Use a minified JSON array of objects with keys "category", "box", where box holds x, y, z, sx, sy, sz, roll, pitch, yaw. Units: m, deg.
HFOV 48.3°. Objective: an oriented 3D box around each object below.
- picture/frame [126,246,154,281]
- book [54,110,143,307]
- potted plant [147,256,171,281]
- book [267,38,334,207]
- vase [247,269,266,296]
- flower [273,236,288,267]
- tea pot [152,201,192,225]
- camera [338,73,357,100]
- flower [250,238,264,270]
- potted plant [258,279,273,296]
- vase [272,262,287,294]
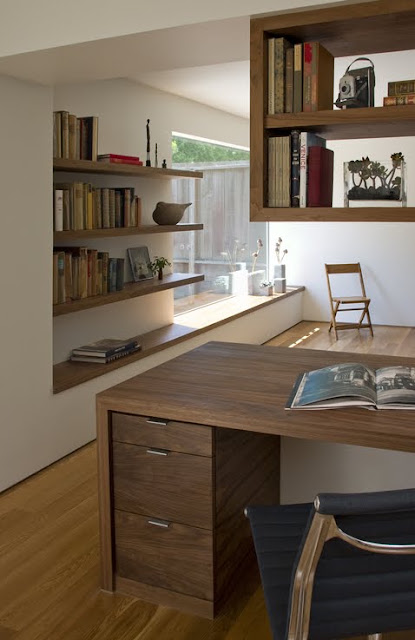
[{"category":"picture/frame","box":[-0.601,-0.478,4.022,0.019,0.207,0.283,-11,12,22]},{"category":"book","box":[-0.759,-0.727,3.114,0.279,1.174,0.951,-1,7,27]},{"category":"potted plant","box":[-0.438,-0.487,4.258,0.203,0.221,0.213,6,15,16]},{"category":"book","box":[0.321,-0.703,1.643,0.220,0.740,0.497,2,8,17]},{"category":"vase","box":[0.651,-0.486,6.286,0.103,0.290,0.336,3,9,27]},{"category":"flower","box":[1.066,-1.010,6.805,0.186,0.398,0.525,-3,6,8]},{"category":"tea pot","box":[-0.336,-0.907,4.075,0.277,0.198,0.220,-1,5,-6]},{"category":"camera","box":[0.483,-0.812,1.608,0.056,0.104,0.049,-8,7,-35]},{"category":"flower","box":[0.690,-0.922,6.614,0.174,0.449,0.673,-3,7,7]},{"category":"potted plant","box":[0.776,-0.410,6.190,0.184,0.197,0.211,-4,6,6]},{"category":"vase","box":[0.979,-0.564,6.412,0.169,0.390,0.453,-3,6,8]}]
